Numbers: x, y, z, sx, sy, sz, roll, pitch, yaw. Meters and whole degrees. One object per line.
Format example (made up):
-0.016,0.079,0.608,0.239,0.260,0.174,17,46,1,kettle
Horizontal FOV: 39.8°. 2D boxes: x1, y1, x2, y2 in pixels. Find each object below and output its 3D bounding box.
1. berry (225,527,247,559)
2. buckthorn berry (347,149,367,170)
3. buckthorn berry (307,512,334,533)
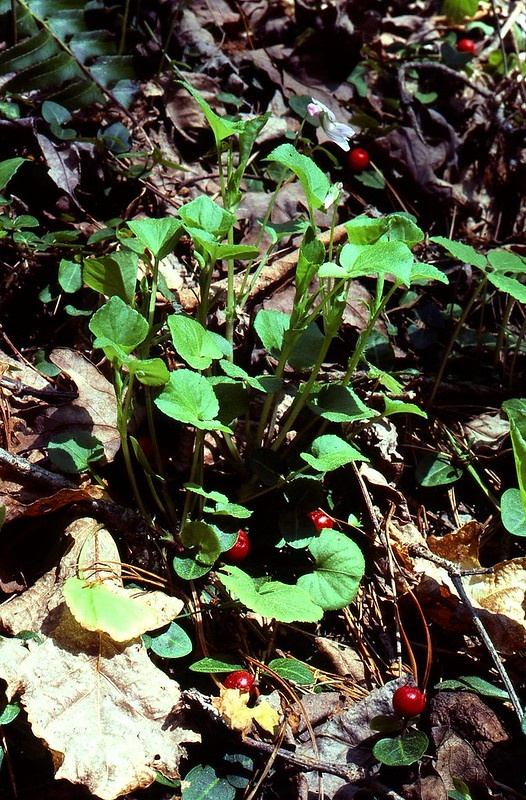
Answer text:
-0.065,0.357,1.831,0.063,0.042,0.076,8,20,14,berry
0.360,-0.898,2.722,0.085,0.084,0.080,13,24,0,buckthorn berry
0.157,0.316,1.917,0.066,0.026,0.049,41,32,-17,buckthorn berry
